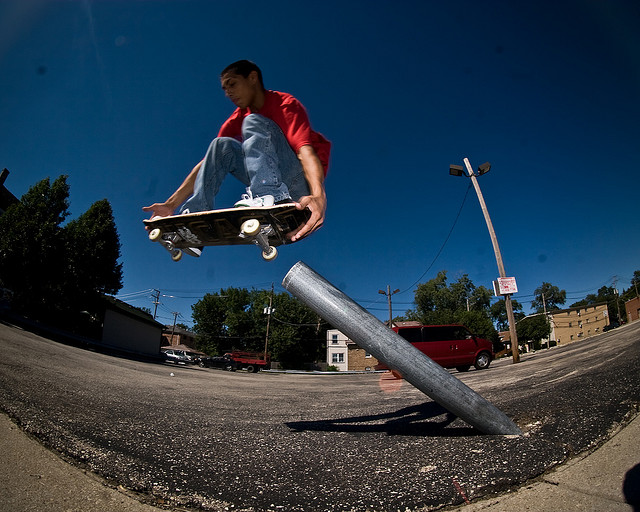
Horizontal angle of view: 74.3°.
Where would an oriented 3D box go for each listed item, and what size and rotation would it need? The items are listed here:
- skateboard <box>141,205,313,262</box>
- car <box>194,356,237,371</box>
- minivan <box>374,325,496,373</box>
[{"bbox_3d":[-0.659,-0.188,2.958,1.488,0.271,0.492,1,-39,17],"label":"skateboard"},{"bbox_3d":[-5.827,5.927,23.459,2.628,0.764,0.849,-1,-5,41],"label":"car"},{"bbox_3d":[2.733,2.210,9.987,2.429,1.116,1.348,-5,-13,3],"label":"minivan"}]
